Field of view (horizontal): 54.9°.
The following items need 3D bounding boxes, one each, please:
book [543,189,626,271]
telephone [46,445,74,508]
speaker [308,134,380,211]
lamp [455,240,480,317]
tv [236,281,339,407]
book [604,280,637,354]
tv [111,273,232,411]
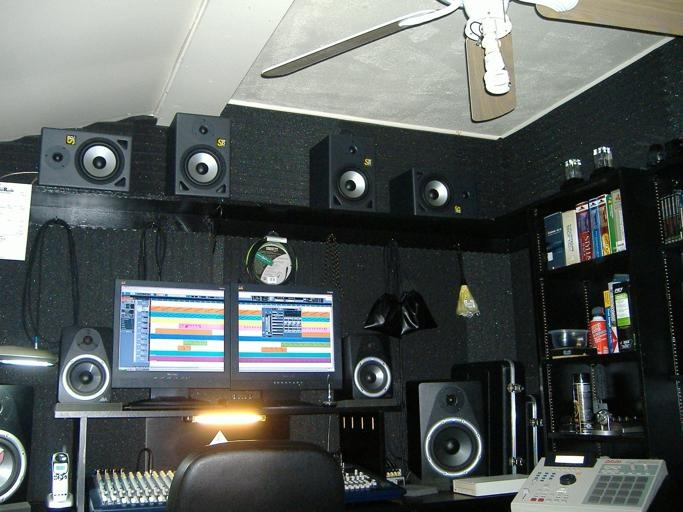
[{"bbox_3d":[1.204,-0.124,3.209,0.127,0.328,0.358,10,-16,-35],"label":"book"},{"bbox_3d":[-1.190,0.939,2.790,0.105,0.238,0.253,3,-11,-22],"label":"telephone"},{"bbox_3d":[0.004,-0.420,3.577,0.374,0.437,0.290,-2,-11,1],"label":"speaker"},{"bbox_3d":[0.734,0.144,3.878,0.133,0.437,0.281,-4,-11,12],"label":"lamp"},{"bbox_3d":[-0.270,0.425,3.211,0.558,0.527,0.207,4,-21,-17],"label":"tv"},{"bbox_3d":[1.304,0.266,3.049,0.088,0.351,0.280,-3,-11,5],"label":"book"},{"bbox_3d":[-0.782,0.407,3.021,0.547,0.539,0.189,5,-26,-20],"label":"tv"}]
